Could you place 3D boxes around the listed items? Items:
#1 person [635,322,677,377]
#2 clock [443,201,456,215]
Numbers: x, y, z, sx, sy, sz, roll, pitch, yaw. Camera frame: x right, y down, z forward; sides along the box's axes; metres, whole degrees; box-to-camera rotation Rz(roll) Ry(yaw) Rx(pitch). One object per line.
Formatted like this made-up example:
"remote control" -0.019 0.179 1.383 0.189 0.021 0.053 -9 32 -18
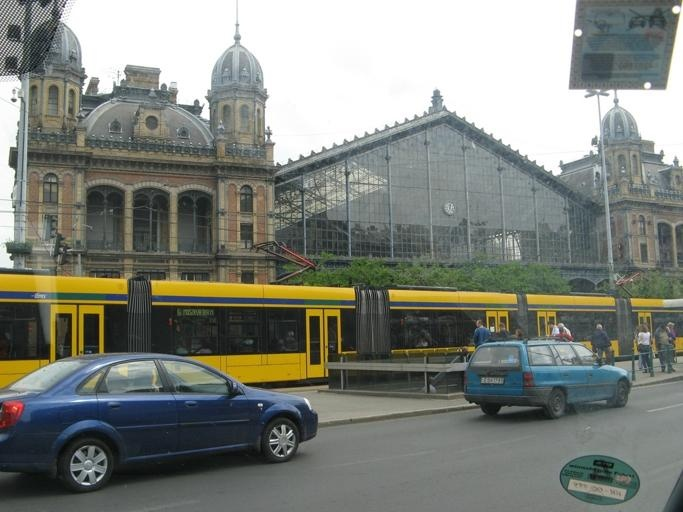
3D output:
"person" 11.260 3.371 29.029 1.460 2.558 0.750 -2 -15 15
"clock" 9.195 -4.058 68.946 1.303 1.156 0.440 1 4 -36
